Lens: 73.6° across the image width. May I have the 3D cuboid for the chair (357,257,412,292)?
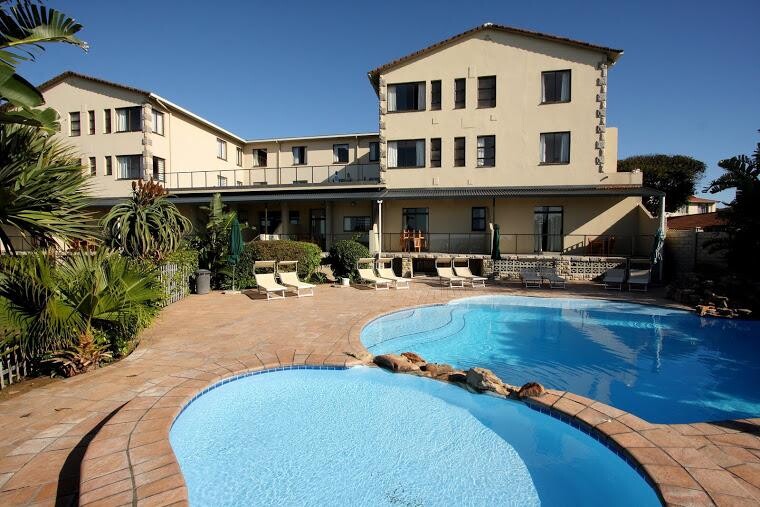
[{"bbox_3d":[-0.163,1.019,24.613,1.375,1.011,2.133,-1,1,-27],"label":"chair"}]

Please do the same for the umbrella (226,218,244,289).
[{"bbox_3d":[-6.412,-0.003,22.486,0.602,3.329,1.164,0,1,-17],"label":"umbrella"}]

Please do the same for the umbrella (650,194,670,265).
[{"bbox_3d":[13.696,-1.176,25.011,0.441,3.428,0.848,2,2,38],"label":"umbrella"}]

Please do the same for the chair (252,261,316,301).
[{"bbox_3d":[-4.561,1.164,22.473,1.725,1.210,2.280,0,2,-28],"label":"chair"}]

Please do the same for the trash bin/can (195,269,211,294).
[{"bbox_3d":[-7.674,1.234,21.826,0.547,1.070,0.383,0,1,-22],"label":"trash bin/can"}]
